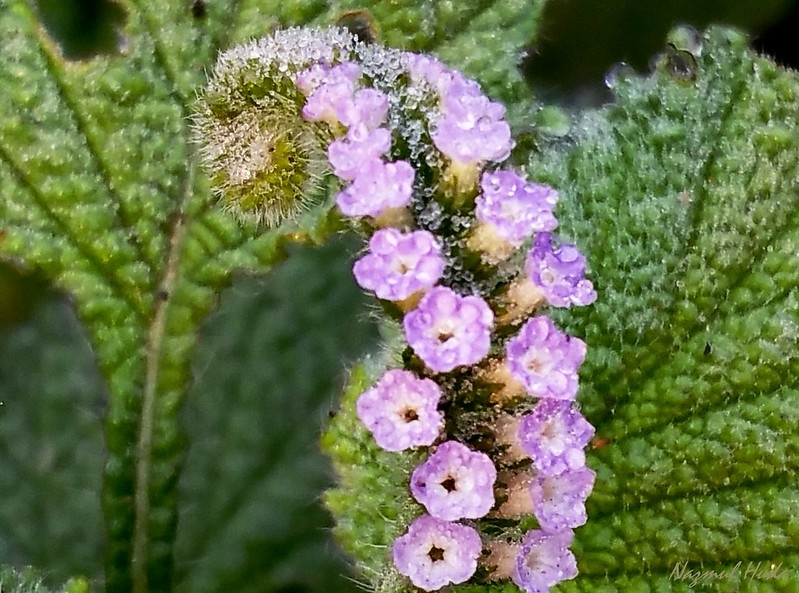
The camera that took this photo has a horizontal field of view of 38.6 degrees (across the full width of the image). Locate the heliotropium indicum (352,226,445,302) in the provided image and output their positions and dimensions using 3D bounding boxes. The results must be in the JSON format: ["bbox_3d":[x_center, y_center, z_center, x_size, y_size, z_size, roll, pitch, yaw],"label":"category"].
[{"bbox_3d":[0.003,-0.143,5.046,0.328,0.128,0.316,-42,69,-6],"label":"heliotropium indicum"}]

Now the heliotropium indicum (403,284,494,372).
[{"bbox_3d":[0.208,0.196,5.099,0.379,0.363,0.331,6,61,2],"label":"heliotropium indicum"}]

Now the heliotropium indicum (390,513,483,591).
[{"bbox_3d":[0.169,1.247,5.331,0.402,0.460,0.287,11,60,5],"label":"heliotropium indicum"}]

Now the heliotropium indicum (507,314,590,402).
[{"bbox_3d":[0.649,0.293,5.143,0.347,0.158,0.370,-33,88,-15],"label":"heliotropium indicum"}]

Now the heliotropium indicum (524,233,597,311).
[{"bbox_3d":[0.725,-0.101,5.205,0.290,0.108,0.347,-12,88,-10],"label":"heliotropium indicum"}]

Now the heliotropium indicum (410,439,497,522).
[{"bbox_3d":[0.246,0.832,5.133,0.375,0.122,0.313,19,64,8],"label":"heliotropium indicum"}]

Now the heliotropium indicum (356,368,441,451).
[{"bbox_3d":[0.021,0.507,5.110,0.343,0.124,0.365,-33,68,-17],"label":"heliotropium indicum"}]
